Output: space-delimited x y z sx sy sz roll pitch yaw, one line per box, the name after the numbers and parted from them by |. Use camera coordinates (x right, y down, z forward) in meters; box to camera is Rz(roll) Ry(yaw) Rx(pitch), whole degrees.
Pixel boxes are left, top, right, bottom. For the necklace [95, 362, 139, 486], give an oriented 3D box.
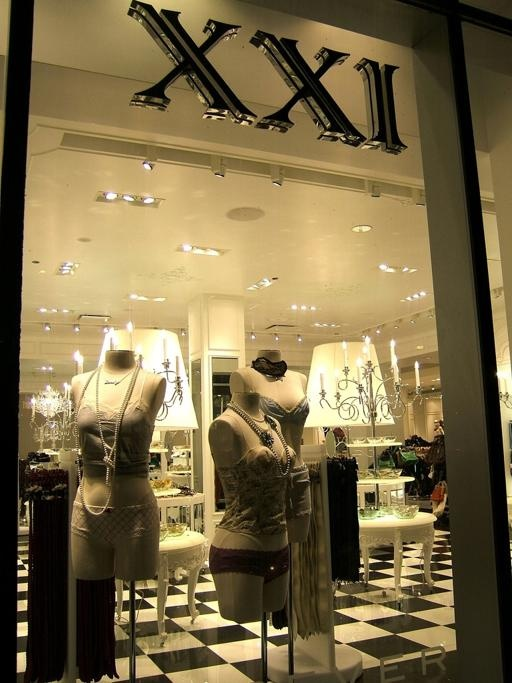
-0.536 0.331 2.201 0.176 0.450 0.140 1 -8 -19 | necklace

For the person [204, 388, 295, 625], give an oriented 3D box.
-0.006 0.651 2.185 0.344 0.841 0.217 1 -8 -20 | person

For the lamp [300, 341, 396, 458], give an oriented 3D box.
0.655 0.336 3.976 0.583 0.701 0.525 -4 -8 12 | lamp

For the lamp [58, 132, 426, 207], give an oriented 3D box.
-0.007 -1.046 3.327 2.211 0.271 0.397 0 -8 -13 | lamp

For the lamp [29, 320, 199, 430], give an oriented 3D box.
-0.661 0.210 3.152 0.606 0.464 0.530 -7 -10 32 | lamp

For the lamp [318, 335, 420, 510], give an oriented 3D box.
0.849 0.513 4.306 0.637 1.248 0.640 -10 18 13 | lamp

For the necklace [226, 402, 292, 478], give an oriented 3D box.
-0.014 0.420 2.256 0.069 0.296 0.218 -41 -34 19 | necklace

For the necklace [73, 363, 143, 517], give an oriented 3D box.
-0.574 0.369 2.213 0.187 0.603 0.039 4 -15 -8 | necklace

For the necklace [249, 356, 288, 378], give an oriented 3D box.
0.070 0.125 2.685 0.133 0.105 0.044 4 -20 -23 | necklace
